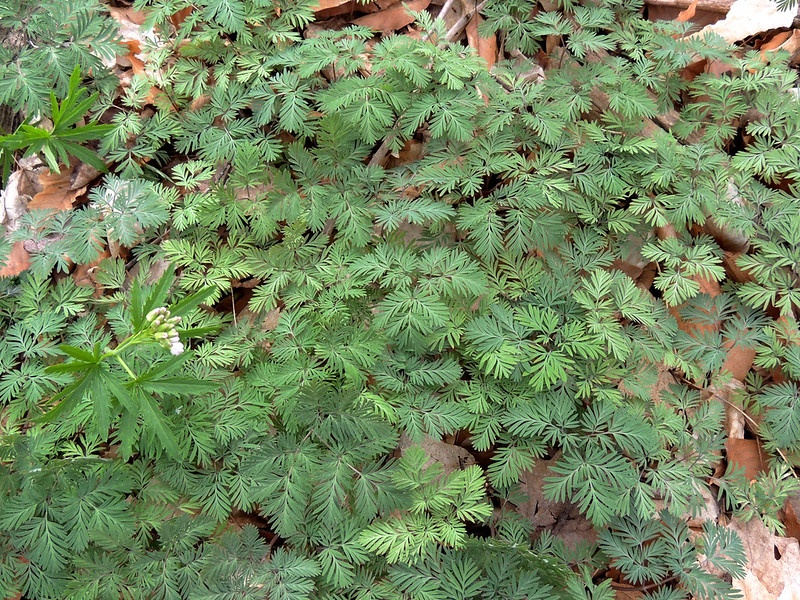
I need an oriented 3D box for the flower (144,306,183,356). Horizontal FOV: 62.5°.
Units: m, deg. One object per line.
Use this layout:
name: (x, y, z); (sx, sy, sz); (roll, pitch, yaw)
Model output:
flower: (-1.021, 0.128, 2.930); (0.091, 0.194, 0.199); (-6, 66, -9)
